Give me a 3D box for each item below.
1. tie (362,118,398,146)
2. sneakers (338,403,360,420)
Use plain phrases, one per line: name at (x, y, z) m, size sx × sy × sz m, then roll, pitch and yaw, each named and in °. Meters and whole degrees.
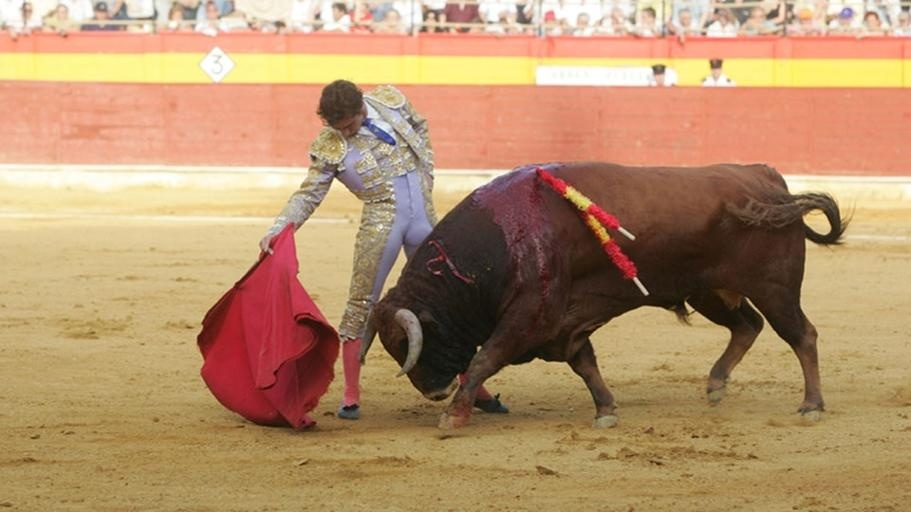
tie at (-0.724, -1.182, 14.204) m, size 0.485 × 0.119 × 0.124 m, roll 31°, pitch -4°, yaw -10°
sneakers at (-1.021, 1.493, 14.308) m, size 0.225 × 0.117 × 0.121 m, roll 3°, pitch -3°, yaw 2°
